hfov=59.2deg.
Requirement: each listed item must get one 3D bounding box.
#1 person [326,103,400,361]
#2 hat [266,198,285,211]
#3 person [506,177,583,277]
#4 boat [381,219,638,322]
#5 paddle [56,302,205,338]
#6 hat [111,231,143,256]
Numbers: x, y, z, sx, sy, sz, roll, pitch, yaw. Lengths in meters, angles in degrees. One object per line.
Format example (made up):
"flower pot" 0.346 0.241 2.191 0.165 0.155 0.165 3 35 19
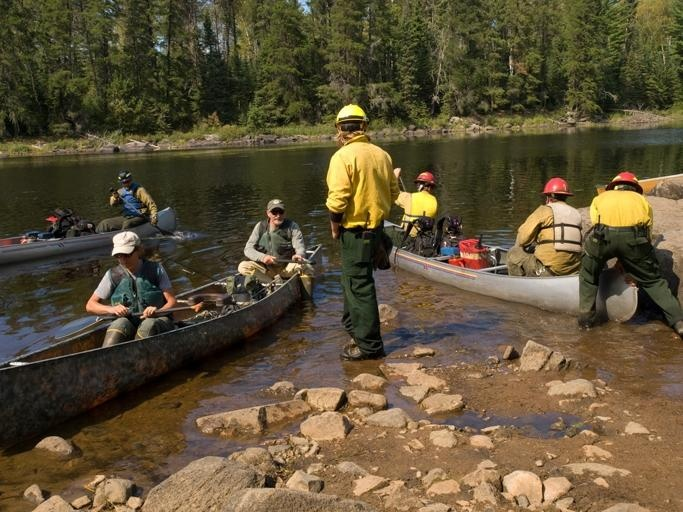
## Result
"person" 0.271 -0.244 7.631 0.756 3.280 0.761 -2 16 9
"hat" -1.111 -0.910 10.182 0.372 0.205 0.476 0 -3 -6
"person" 3.269 -0.381 9.377 0.921 1.611 1.322 -9 15 -19
"boat" 2.479 0.159 10.769 1.049 0.660 5.823 -9 16 -38
"paddle" -2.707 0.854 7.907 0.266 0.195 2.138 15 17 34
"hat" -2.643 -0.158 7.389 0.302 0.177 0.381 -2 5 2
